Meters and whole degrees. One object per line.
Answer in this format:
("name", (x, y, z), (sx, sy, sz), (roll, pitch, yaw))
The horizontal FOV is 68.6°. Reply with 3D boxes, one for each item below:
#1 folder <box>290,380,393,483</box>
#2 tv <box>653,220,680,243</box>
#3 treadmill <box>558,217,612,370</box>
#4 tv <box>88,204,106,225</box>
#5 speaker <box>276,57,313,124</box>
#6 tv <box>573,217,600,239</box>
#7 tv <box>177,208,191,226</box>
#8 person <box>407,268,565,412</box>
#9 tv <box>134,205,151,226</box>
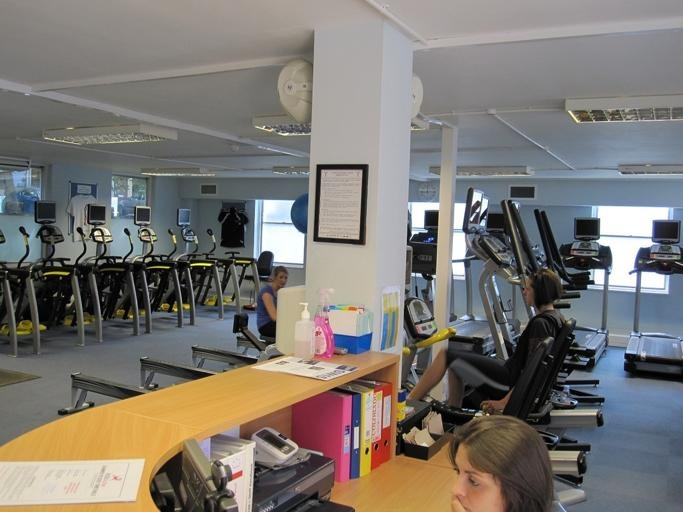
("folder", (0.014, 0.761, 2.593), (0.397, 0.489, 0.557), (2, 3, 43))
("tv", (5.210, -0.403, 8.005), (0.371, 0.351, 0.134), (2, -2, 40))
("treadmill", (3.725, 0.542, 7.523), (0.668, 2.280, 0.817), (8, 6, 30))
("tv", (-4.833, -0.835, 9.819), (0.326, 0.413, 0.612), (-7, 6, -25))
("speaker", (-0.296, -1.100, 3.267), (0.230, 0.427, 0.273), (-5, 5, -4))
("tv", (4.094, -0.475, 8.326), (0.429, 0.409, 0.221), (1, 1, 37))
("tv", (-3.870, -0.970, 12.230), (0.127, 0.443, 0.486), (1, 1, 28))
("person", (1.049, 0.654, 4.315), (1.559, 1.323, 0.895), (2, -3, 30))
("tv", (-4.244, -0.863, 10.625), (0.308, 0.405, 0.587), (-6, 6, -23))
